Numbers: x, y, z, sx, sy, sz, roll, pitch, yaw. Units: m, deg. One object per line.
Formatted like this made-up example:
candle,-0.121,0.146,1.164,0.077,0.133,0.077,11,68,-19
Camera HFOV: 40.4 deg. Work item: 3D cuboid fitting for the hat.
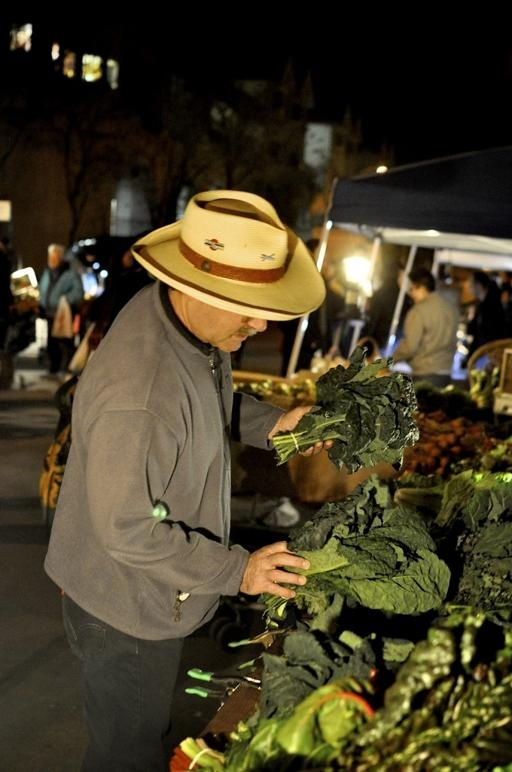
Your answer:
hat,-0.063,-0.379,1.794,0.525,0.187,0.477,29,39,21
